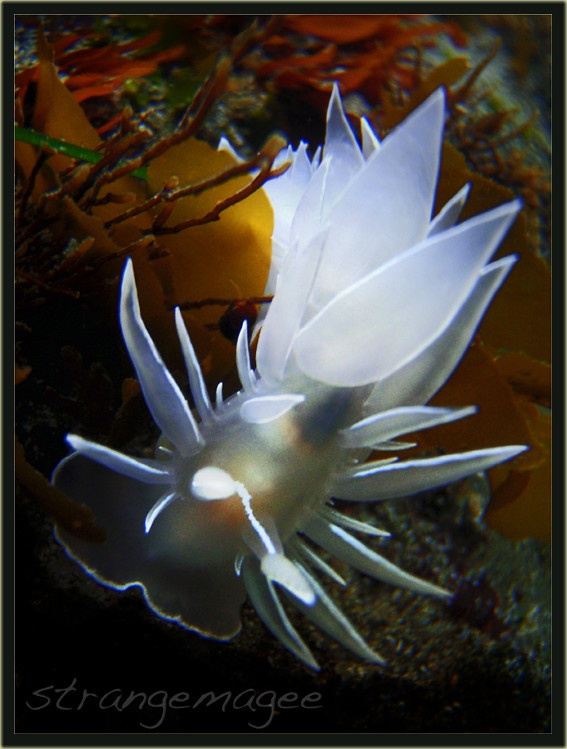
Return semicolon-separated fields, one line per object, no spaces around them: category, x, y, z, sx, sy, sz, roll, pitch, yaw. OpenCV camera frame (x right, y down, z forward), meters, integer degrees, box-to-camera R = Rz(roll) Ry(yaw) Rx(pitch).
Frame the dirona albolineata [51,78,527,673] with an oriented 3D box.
dirona albolineata;0.030;0.032;1.198;0.595;0.723;0.277;30;2;-2
